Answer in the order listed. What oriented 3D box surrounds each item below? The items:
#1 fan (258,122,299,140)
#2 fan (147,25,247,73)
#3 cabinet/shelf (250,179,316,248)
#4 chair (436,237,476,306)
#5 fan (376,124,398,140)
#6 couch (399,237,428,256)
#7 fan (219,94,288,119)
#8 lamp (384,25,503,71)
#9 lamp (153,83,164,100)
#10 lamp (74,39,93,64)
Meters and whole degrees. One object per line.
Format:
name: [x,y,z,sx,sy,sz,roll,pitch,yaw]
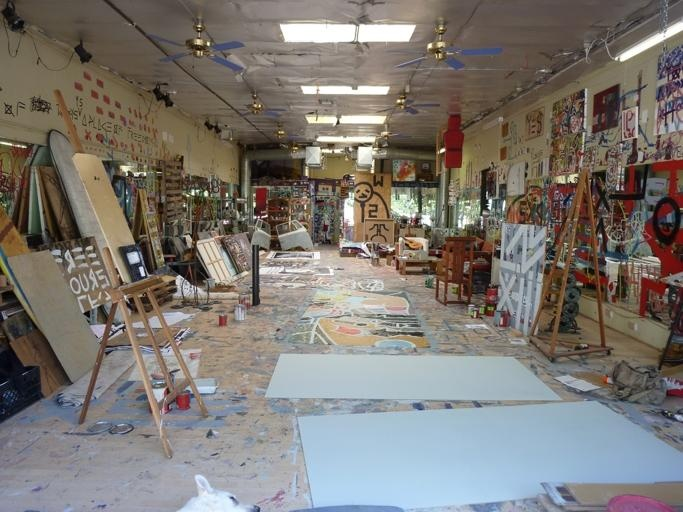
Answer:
fan: [-2.320,-4.463,14.316,1.429,0.568,1.382,1,4,3]
fan: [-2.088,-3.045,5.918,1.351,0.384,1.275,-2,11,-35]
cabinet/shelf: [-2.288,-1.658,16.065,2.478,2.809,4.794,-1,9,-12]
chair: [2.321,0.189,7.977,0.737,1.284,2.082,3,10,14]
fan: [1.532,-4.195,13.418,0.913,0.490,0.848,0,7,11]
couch: [2.141,-0.298,11.734,0.795,0.449,2.275,2,9,9]
fan: [-2.116,-3.874,10.564,1.292,0.430,1.197,0,2,-14]
lamp: [1.642,-3.356,6.344,1.043,0.324,0.992,0,3,-16]
lamp: [-4.122,-3.672,8.902,0.223,0.313,0.696,-4,10,-24]
lamp: [-4.293,-3.356,6.568,0.213,0.335,0.628,-6,11,-32]
